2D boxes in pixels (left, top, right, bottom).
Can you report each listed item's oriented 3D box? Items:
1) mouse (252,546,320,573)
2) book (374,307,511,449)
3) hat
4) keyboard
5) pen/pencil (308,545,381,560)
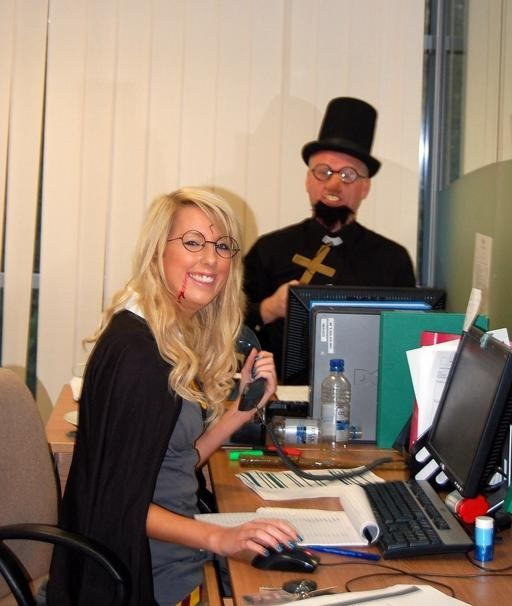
[{"bbox_3d":[0.049,0.408,0.877,0.078,0.024,0.047,-1,3,2],"label":"mouse"},{"bbox_3d":[0.418,0.192,1.549,0.376,0.399,0.094,0,9,-10],"label":"book"},{"bbox_3d":[0.514,-0.959,3.171,0.497,0.330,0.448,7,6,-33],"label":"hat"},{"bbox_3d":[0.304,0.394,1.041,0.125,0.284,0.028,-25,35,14],"label":"keyboard"},{"bbox_3d":[0.146,0.420,0.933,0.122,0.014,0.014,4,8,16],"label":"pen/pencil"}]
